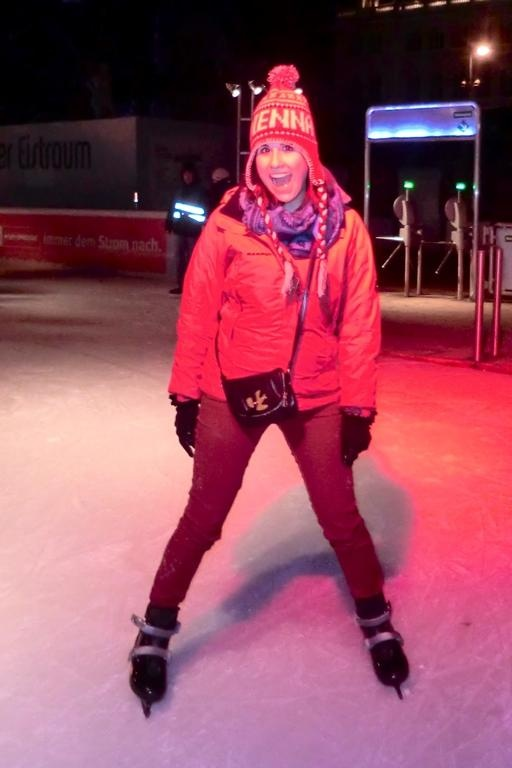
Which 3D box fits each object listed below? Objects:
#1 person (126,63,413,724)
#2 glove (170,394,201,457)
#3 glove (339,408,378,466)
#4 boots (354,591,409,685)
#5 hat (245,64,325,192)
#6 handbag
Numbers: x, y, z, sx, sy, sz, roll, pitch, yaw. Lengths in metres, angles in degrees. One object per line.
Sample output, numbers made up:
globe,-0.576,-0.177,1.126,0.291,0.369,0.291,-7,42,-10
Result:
person,0.073,-0.004,1.726,0.780,1.728,0.394,1,1,-16
glove,-0.178,0.114,1.778,0.052,0.153,0.107,1,4,-42
glove,0.291,0.139,1.742,0.119,0.124,0.038,-32,-13,35
boots,0.353,0.737,1.831,0.099,0.090,0.312,-11,46,5
hat,0.085,-0.730,1.789,0.206,0.439,0.408,1,1,0
handbag,0.008,0.028,1.606,0.119,0.116,0.054,-12,3,4
